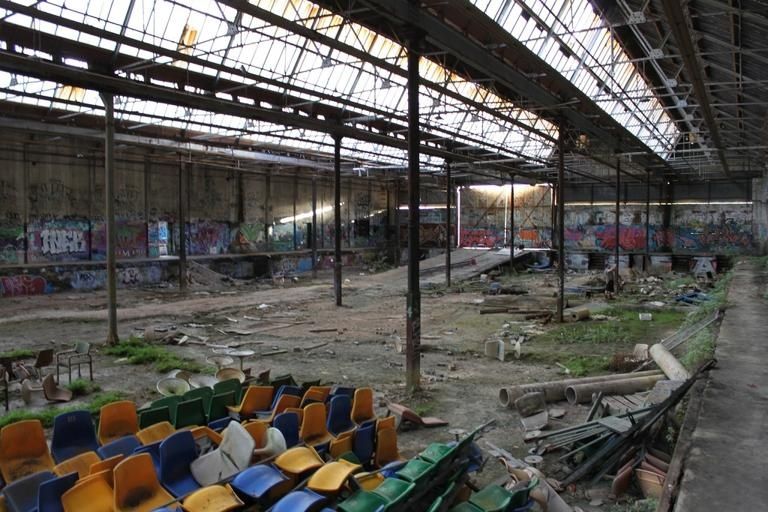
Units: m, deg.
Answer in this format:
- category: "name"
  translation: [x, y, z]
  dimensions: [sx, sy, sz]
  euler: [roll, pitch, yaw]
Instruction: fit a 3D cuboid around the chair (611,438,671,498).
- category: "chair"
  translation: [5.495, 4.624, 10.876]
  dimensions: [0.993, 0.821, 1.187]
  euler: [-3, 0, 33]
